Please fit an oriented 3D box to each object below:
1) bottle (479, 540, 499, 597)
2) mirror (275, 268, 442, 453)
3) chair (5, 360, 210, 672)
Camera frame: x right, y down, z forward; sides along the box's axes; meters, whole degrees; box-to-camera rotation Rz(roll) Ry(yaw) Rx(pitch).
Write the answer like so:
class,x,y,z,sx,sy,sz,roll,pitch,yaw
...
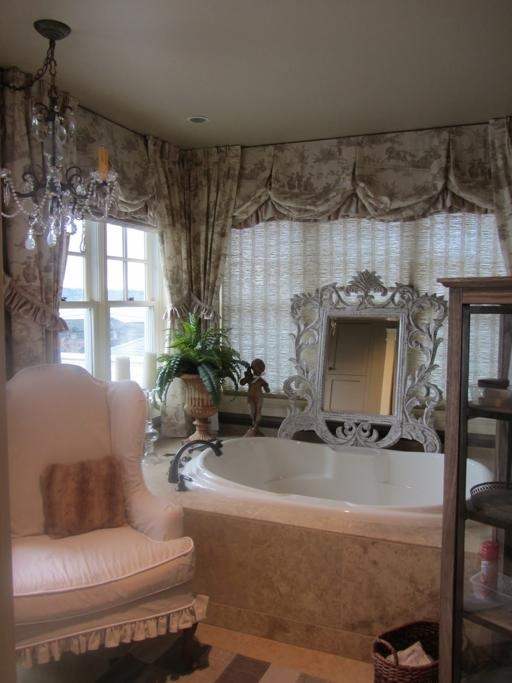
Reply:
class,x,y,z,sx,sy,sz,roll,pitch,yaw
bottle,0.633,0.618,1.475,0.030,0.166,0.071,1,0,-21
mirror,0.678,0.128,3.391,1.246,1.208,0.055,2,1,27
chair,-0.458,0.557,2.397,1.019,1.137,1.086,2,-3,-34
